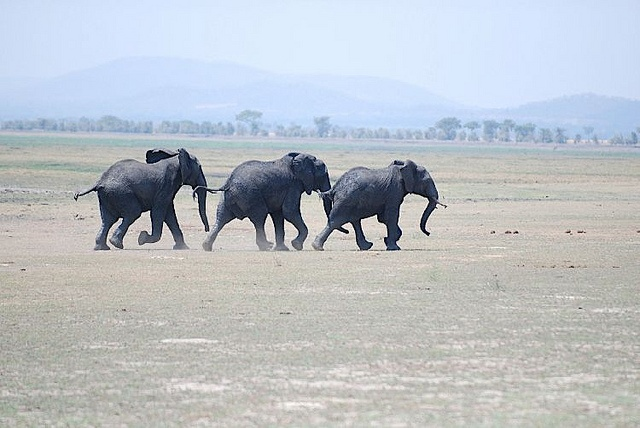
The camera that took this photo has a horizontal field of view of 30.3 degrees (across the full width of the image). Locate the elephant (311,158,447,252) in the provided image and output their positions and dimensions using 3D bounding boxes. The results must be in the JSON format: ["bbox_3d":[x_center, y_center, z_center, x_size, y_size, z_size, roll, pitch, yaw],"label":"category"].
[{"bbox_3d":[1.505,-0.220,31.114,4.117,2.198,1.505,-3,6,-29],"label":"elephant"}]

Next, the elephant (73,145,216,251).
[{"bbox_3d":[-4.330,-0.411,29.927,2.743,2.556,1.080,-3,7,-38],"label":"elephant"}]
